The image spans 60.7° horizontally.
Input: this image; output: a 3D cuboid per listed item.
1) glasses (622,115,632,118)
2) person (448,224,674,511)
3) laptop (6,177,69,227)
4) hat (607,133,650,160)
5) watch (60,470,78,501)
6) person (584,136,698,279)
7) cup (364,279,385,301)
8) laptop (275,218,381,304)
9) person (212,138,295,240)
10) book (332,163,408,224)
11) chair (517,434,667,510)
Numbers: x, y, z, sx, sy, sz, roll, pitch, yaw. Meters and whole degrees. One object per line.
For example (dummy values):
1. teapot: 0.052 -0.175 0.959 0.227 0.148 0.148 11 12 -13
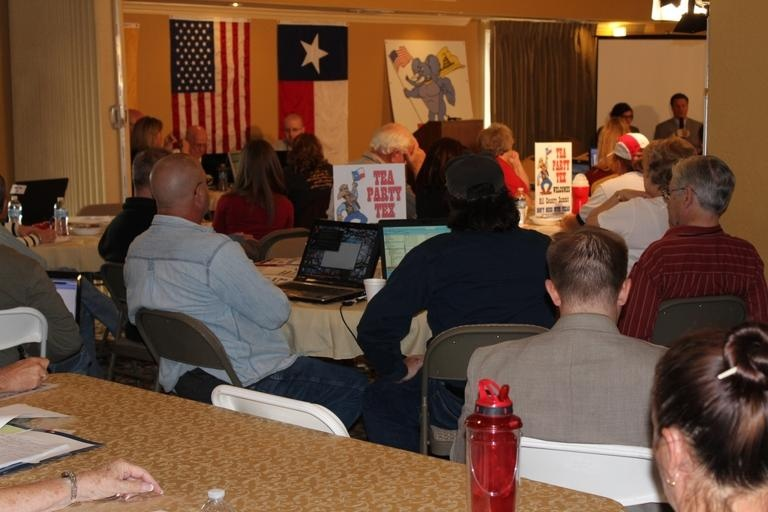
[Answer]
1. glasses: 3.163 -1.832 8.540 0.099 0.055 0.120 -1 3 -2
2. person: 0.451 0.348 2.256 0.686 1.194 0.659 10 53 14
3. laptop: -2.852 -0.487 5.452 0.434 0.473 0.357 -1 7 -24
4. hat: 1.660 -0.766 4.390 0.187 0.098 0.282 17 34 34
5. watch: -0.687 0.507 1.447 0.015 0.041 0.053 -2 22 -17
6. person: 1.255 -0.238 3.621 0.336 0.786 0.398 14 -1 -33
7. cup: -0.042 0.147 3.165 0.095 0.095 0.095 1 11 0
8. laptop: -0.268 -0.056 3.534 0.437 0.323 0.437 5 11 34
9. person: -1.066 -0.338 5.208 0.557 1.215 0.556 1 32 -21
10. book: -0.093 -0.374 3.937 0.315 0.299 0.027 -1 -3 -7
11. chair: 0.537 0.521 1.704 0.318 0.112 0.202 1 4 -9
